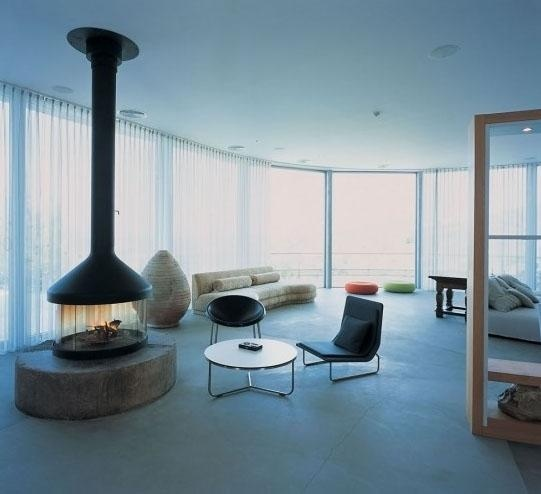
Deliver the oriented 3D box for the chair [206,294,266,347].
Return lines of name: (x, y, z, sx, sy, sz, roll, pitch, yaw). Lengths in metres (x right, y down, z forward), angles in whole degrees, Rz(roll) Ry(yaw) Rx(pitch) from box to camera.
chair: (-0.424, 0.874, 5.452, 0.684, 0.522, 0.669, 1, 8, -4)

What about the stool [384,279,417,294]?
stool: (3.013, 0.936, 10.476, 0.661, 0.250, 0.432, 1, 6, 6)

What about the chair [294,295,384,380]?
chair: (0.704, 0.953, 4.672, 0.904, 0.685, 0.912, -1, 2, 42)

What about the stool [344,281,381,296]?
stool: (2.095, 0.962, 10.224, 0.427, 0.268, 0.743, -5, 8, -43)

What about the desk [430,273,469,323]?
desk: (2.938, 0.812, 7.419, 0.760, 0.554, 0.795, -1, -1, 27)
